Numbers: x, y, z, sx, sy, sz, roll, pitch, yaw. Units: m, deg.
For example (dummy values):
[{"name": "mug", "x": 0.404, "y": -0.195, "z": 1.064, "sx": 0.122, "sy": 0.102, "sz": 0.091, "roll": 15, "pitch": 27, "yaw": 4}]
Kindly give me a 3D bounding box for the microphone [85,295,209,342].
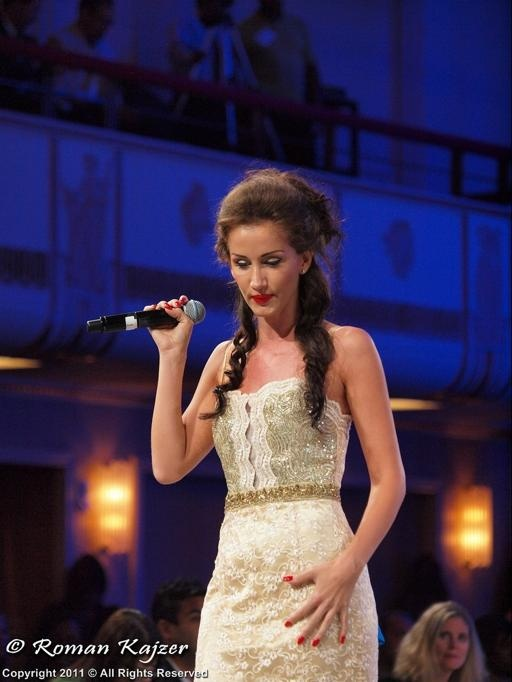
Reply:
[{"name": "microphone", "x": -0.231, "y": -0.059, "z": 2.039, "sx": 0.368, "sy": 0.080, "sz": 0.086, "roll": -5, "pitch": -13, "yaw": -34}]
